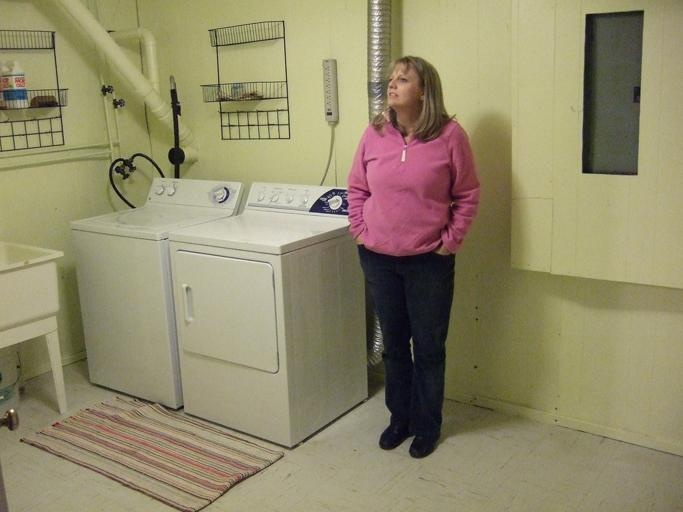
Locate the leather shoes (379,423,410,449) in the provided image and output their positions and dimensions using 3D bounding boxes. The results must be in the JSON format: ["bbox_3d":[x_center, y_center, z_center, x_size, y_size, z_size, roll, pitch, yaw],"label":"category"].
[{"bbox_3d":[0.262,0.907,2.889,0.078,0.077,0.176,4,3,33],"label":"leather shoes"}]

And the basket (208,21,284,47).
[{"bbox_3d":[-0.602,-1.401,3.589,0.586,0.125,0.057,9,18,32],"label":"basket"}]

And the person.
[{"bbox_3d":[0.323,0.036,2.695,0.604,1.863,0.329,0,15,5],"label":"person"}]

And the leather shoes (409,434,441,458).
[{"bbox_3d":[0.397,0.929,2.811,0.068,0.077,0.186,-1,-4,28],"label":"leather shoes"}]

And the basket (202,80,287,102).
[{"bbox_3d":[-0.655,-1.053,3.656,0.682,0.128,0.154,10,20,35],"label":"basket"}]

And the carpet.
[{"bbox_3d":[-0.974,0.986,2.934,1.272,0.054,0.624,9,19,32],"label":"carpet"}]
